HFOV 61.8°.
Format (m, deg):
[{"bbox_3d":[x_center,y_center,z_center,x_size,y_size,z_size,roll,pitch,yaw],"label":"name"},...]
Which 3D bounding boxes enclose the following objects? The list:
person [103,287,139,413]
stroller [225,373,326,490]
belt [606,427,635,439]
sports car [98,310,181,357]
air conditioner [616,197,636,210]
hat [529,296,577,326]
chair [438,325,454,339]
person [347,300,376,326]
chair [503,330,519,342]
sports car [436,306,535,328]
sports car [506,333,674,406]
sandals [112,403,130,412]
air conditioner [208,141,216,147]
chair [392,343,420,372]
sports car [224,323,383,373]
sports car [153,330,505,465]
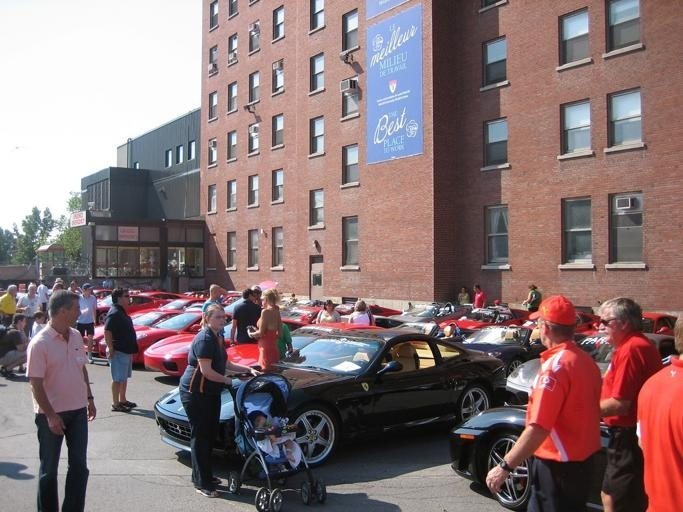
[{"bbox_3d":[-3.765,1.640,9.779,0.469,2.114,0.679,-4,6,-21],"label":"person"},{"bbox_3d":[-0.761,2.027,6.327,0.891,1.176,1.153,3,-4,-26],"label":"stroller"},{"bbox_3d":[2.285,1.426,4.577,0.143,0.048,0.124,11,-11,-30],"label":"belt"},{"bbox_3d":[-5.820,2.275,16.098,1.315,0.635,2.376,-4,-2,42],"label":"sports car"},{"bbox_3d":[10.032,-1.777,20.100,0.429,0.511,0.752,3,-2,-19],"label":"air conditioner"},{"bbox_3d":[1.552,0.408,4.215,0.203,0.156,0.277,4,1,-35],"label":"hat"},{"bbox_3d":[2.633,1.872,13.805,0.379,0.166,0.370,-13,0,-42],"label":"chair"},{"bbox_3d":[0.501,1.496,14.357,0.570,0.639,0.959,-1,5,6],"label":"person"},{"bbox_3d":[3.743,1.771,12.552,0.318,0.225,0.237,15,-9,-36],"label":"chair"},{"bbox_3d":[4.329,1.876,16.816,2.145,0.572,1.068,3,-9,-34],"label":"sports car"},{"bbox_3d":[3.918,1.744,9.063,3.491,0.986,1.815,5,-11,-23],"label":"sports car"},{"bbox_3d":[-3.771,2.617,9.757,0.342,0.136,0.124,-1,-5,15],"label":"sandals"},{"bbox_3d":[-9.116,-7.888,40.233,0.381,0.447,0.690,1,0,-36],"label":"air conditioner"},{"bbox_3d":[0.899,1.545,8.574,0.350,0.468,0.429,-3,1,2],"label":"chair"},{"bbox_3d":[-0.041,1.472,10.239,1.779,0.773,2.800,-2,-2,3],"label":"sports car"},{"bbox_3d":[0.388,1.867,8.145,4.179,1.163,2.095,7,-12,-35],"label":"sports car"}]
